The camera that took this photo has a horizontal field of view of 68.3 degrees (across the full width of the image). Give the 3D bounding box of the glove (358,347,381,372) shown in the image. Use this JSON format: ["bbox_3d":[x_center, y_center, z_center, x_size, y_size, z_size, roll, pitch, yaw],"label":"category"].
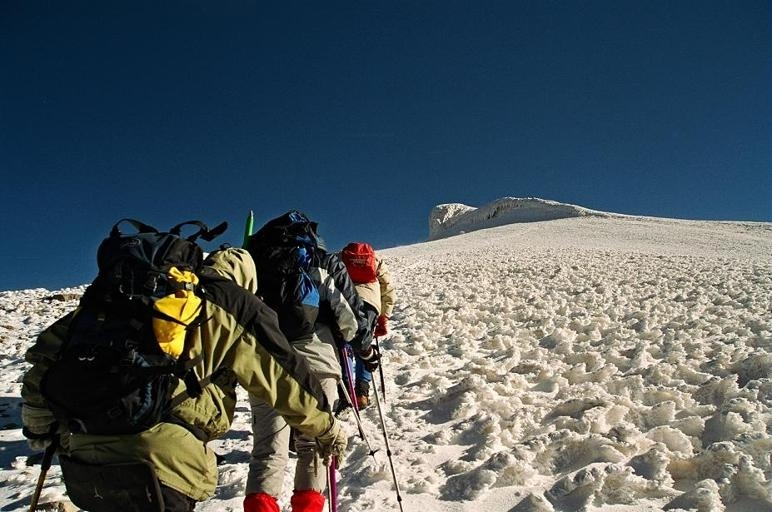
[{"bbox_3d":[-0.208,1.430,8.074,0.320,0.376,0.288,0,42,6],"label":"glove"}]

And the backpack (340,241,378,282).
[{"bbox_3d":[-0.324,0.125,7.779,0.483,0.662,0.645,-5,14,-7],"label":"backpack"}]
